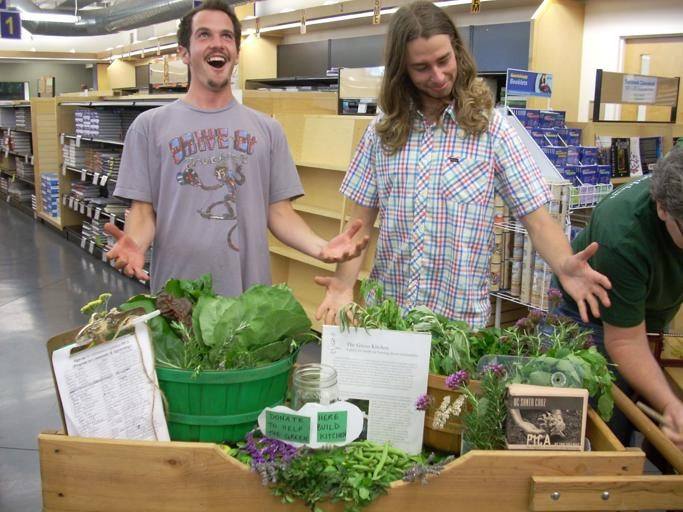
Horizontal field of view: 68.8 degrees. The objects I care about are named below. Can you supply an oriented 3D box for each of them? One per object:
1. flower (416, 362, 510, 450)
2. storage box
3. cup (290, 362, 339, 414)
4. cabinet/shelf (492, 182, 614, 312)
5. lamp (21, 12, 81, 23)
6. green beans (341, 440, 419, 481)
[{"bbox_3d":[0.321,0.397,1.354,0.239,0.178,0.226,8,-4,20],"label":"flower"},{"bbox_3d":[0.496,0.391,1.213,0.170,0.141,0.059,0,7,-1],"label":"storage box"},{"bbox_3d":[-0.067,0.319,1.233,0.105,0.109,0.106,2,0,0],"label":"cup"},{"bbox_3d":[1.437,0.013,4.009,0.849,1.079,1.128,2,2,-43],"label":"cabinet/shelf"},{"bbox_3d":[-8.751,-7.075,14.782,1.903,0.365,0.312,3,16,10],"label":"lamp"},{"bbox_3d":[0.093,0.506,1.242,0.121,0.038,0.097,10,14,-3],"label":"green beans"}]
